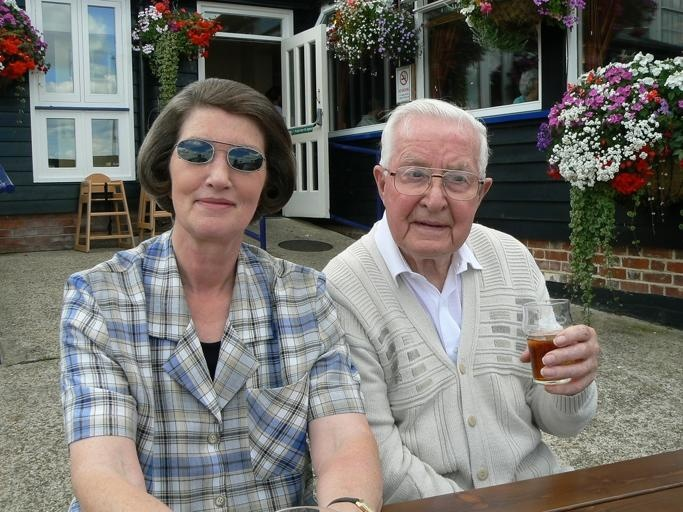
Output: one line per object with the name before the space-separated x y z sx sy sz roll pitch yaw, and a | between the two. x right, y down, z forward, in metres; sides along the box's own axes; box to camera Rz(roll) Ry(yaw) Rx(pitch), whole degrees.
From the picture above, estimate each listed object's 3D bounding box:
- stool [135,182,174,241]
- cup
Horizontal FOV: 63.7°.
stool | -2.772 -0.565 8.547 0.565 0.914 0.536 -1 7 -43
cup | 0.636 0.269 1.700 0.138 0.258 0.092 1 10 11
